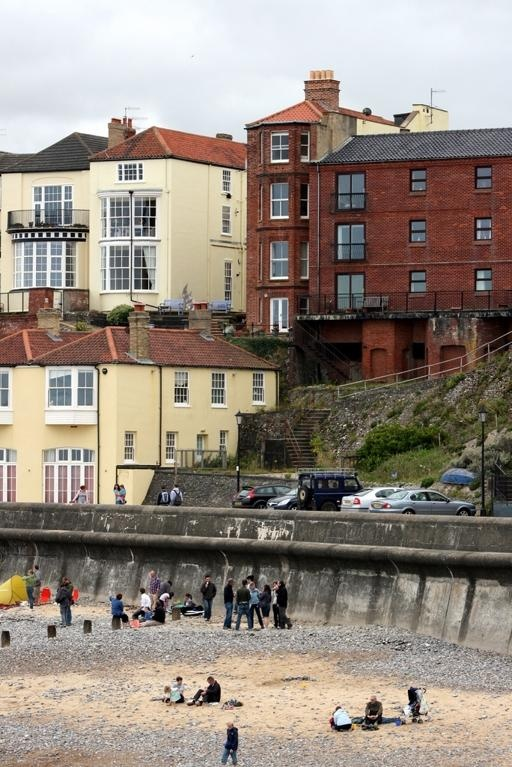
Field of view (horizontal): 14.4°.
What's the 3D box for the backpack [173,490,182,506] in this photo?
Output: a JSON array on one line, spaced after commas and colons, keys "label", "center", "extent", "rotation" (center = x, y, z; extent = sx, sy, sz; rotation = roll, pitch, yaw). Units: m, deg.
[{"label": "backpack", "center": [-2.475, 3.489, 61.367], "extent": [0.250, 0.523, 0.451], "rotation": [2, 3, 27]}]
